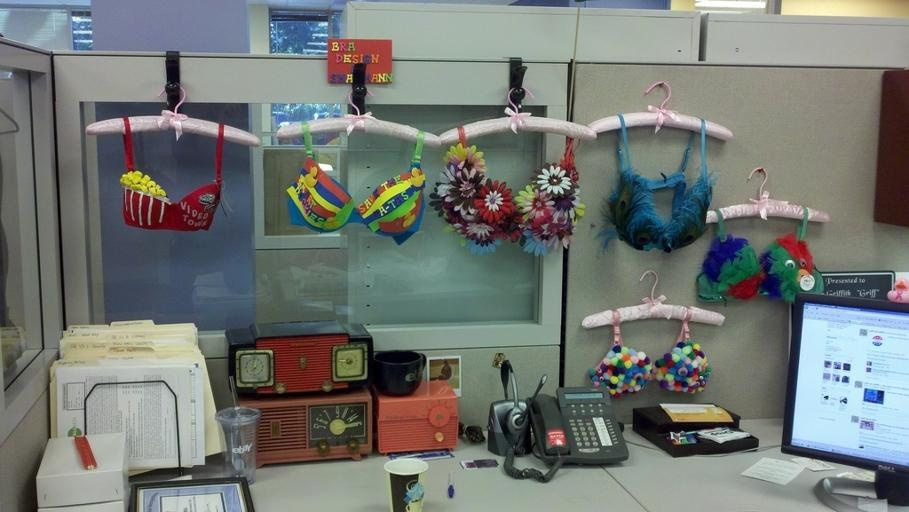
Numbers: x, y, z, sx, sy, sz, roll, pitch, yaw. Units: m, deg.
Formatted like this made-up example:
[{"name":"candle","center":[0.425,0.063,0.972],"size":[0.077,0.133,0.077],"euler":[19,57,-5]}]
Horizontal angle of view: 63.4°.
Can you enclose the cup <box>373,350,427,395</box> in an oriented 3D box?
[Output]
[{"name":"cup","center":[-0.222,0.505,3.147],"size":[0.261,0.146,0.186],"euler":[-5,12,-28]}]

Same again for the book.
[{"name":"book","center":[-1.252,0.565,2.920],"size":[0.622,0.573,0.309],"euler":[-2,2,-17]}]

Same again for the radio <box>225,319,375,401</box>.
[{"name":"radio","center":[-0.647,0.429,3.068],"size":[0.575,0.286,0.221],"euler":[-2,2,-17]}]

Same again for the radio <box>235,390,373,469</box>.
[{"name":"radio","center":[-0.572,0.709,3.010],"size":[0.552,0.255,0.294],"euler":[-1,4,-12]}]
